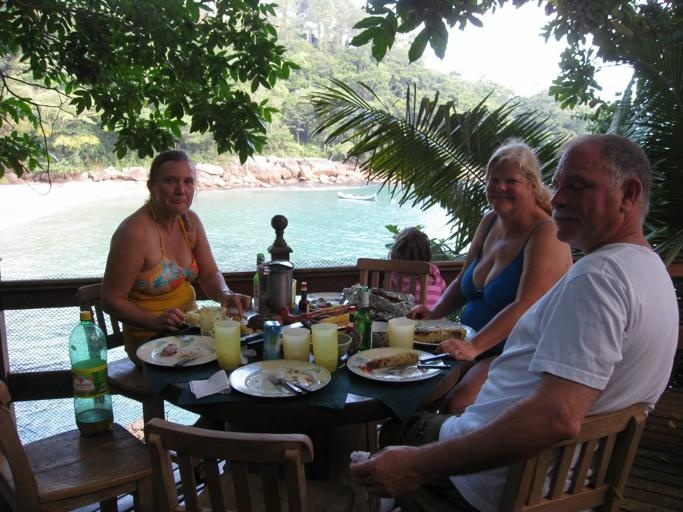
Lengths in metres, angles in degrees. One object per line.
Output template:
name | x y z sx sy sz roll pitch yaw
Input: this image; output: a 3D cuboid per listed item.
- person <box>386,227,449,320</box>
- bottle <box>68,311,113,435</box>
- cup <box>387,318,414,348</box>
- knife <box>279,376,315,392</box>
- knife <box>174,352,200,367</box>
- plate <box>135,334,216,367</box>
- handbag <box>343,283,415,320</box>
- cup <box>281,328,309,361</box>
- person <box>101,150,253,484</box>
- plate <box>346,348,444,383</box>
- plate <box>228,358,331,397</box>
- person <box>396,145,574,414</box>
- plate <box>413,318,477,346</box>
person | 0.525 0.070 3.737 0.542 0.739 0.543 -1 0 -1
bottle | -1.115 0.532 2.313 0.192 0.565 0.217 4 4 41
cup | 0.276 0.360 2.429 0.135 0.129 0.121 1 5 2
knife | -0.186 0.482 1.981 0.054 0.011 0.109 -6 12 -40
knife | -0.668 0.443 2.190 0.032 0.008 0.105 17 7 11
plate | -0.693 0.424 2.245 0.378 0.036 0.351 3 11 5
handbag | 0.224 0.241 2.824 0.401 0.137 0.274 9 10 29
cup | -0.187 0.372 2.204 0.138 0.130 0.131 1 1 0
person | -0.921 0.226 2.944 0.676 1.452 0.659 -5 15 -36
plate | 0.198 0.417 2.188 0.309 0.113 0.377 -2 8 -31
plate | -0.241 0.485 2.023 0.412 0.039 0.391 -2 8 -18
person | 0.862 0.346 2.951 1.016 1.768 1.065 0 9 3
plate | 0.509 0.364 2.556 0.239 0.101 0.302 3 6 13
